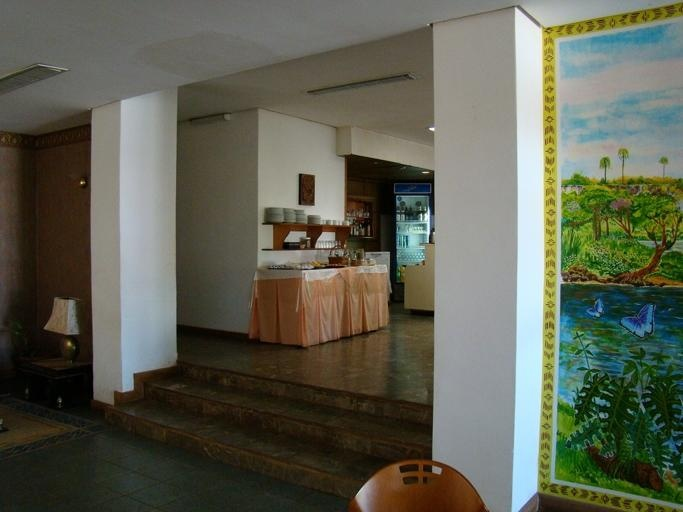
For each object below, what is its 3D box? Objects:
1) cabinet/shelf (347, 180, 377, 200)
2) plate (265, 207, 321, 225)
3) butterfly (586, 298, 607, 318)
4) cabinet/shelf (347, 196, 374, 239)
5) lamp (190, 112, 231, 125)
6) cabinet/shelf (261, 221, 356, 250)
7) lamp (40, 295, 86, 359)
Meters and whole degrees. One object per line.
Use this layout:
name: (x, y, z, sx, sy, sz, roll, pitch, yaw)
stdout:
cabinet/shelf: (0.494, -1.714, 12.850, 0.457, 0.559, 0.857, 5, 4, 40)
plate: (-0.822, -0.655, 8.209, 0.227, 0.255, 1.023, 3, 4, 40)
butterfly: (1.986, 0.401, 3.933, 0.119, 0.151, 0.025, 1, 2, 12)
cabinet/shelf: (0.425, -0.977, 12.550, 0.335, 1.011, 1.074, -3, -5, 32)
lamp: (-2.192, -2.269, 8.326, 0.892, 0.114, 0.135, 3, 3, 33)
cabinet/shelf: (-0.486, -0.338, 8.523, 0.459, 0.438, 1.645, 3, 4, 38)
lamp: (-3.617, 0.966, 6.630, 0.521, 0.790, 0.516, 3, -4, 5)
